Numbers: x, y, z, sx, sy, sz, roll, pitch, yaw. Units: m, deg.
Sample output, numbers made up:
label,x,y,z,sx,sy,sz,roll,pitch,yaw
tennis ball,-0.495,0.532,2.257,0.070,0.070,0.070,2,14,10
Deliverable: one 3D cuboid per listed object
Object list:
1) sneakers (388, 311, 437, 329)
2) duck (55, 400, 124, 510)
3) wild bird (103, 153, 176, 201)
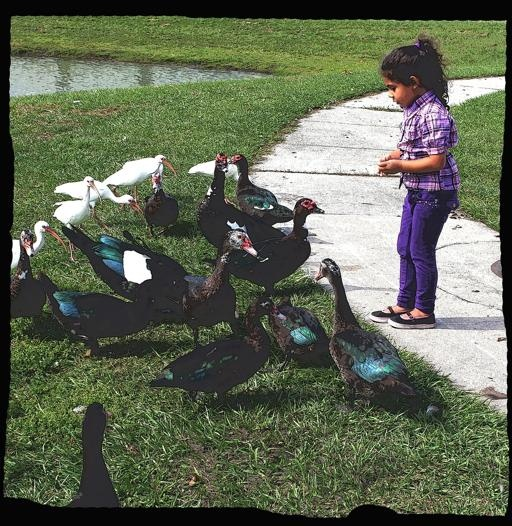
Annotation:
label,x,y,z,sx,sy,sz,roll,pitch,yaw
sneakers,1.120,0.415,5.612,0.372,0.097,0.113,3,0,5
duck,-0.839,0.974,3.937,0.284,0.623,0.186,3,14,8
wild bird,-1.262,-0.845,7.866,0.890,0.299,0.262,-12,13,-22
